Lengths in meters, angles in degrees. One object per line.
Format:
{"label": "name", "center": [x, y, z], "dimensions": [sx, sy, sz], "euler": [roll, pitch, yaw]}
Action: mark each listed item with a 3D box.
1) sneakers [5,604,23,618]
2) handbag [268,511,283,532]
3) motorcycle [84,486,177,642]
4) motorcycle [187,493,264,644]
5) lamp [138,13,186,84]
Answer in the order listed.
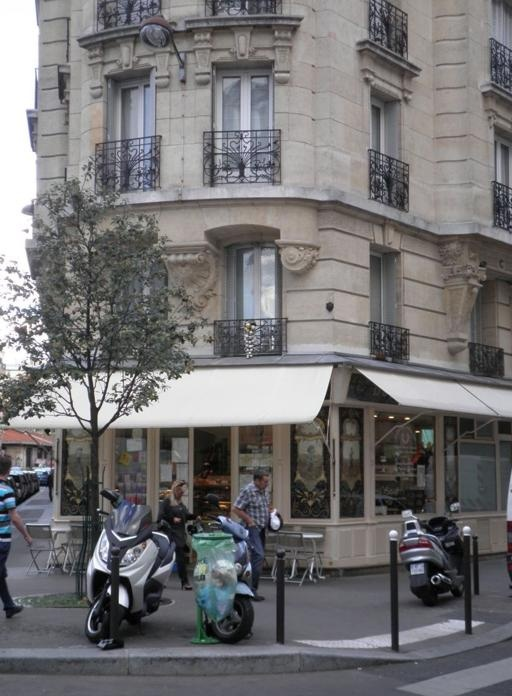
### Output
{"label": "sneakers", "center": [-2.558, 2.796, 12.184], "dimensions": [0.231, 0.120, 0.086], "euler": [-18, 9, -42]}
{"label": "handbag", "center": [0.244, 2.016, 13.357], "dimensions": [0.071, 0.252, 0.218], "euler": [-6, -10, -45]}
{"label": "motorcycle", "center": [-1.238, 2.157, 11.147], "dimensions": [0.593, 1.312, 0.993], "euler": [-4, -6, 33]}
{"label": "motorcycle", "center": [-0.169, 2.495, 11.837], "dimensions": [0.688, 1.422, 1.808], "euler": [1, -16, -18]}
{"label": "lamp", "center": [-1.494, -4.723, 17.969], "dimensions": [0.471, 0.871, 1.060], "euler": [-2, -6, 17]}
